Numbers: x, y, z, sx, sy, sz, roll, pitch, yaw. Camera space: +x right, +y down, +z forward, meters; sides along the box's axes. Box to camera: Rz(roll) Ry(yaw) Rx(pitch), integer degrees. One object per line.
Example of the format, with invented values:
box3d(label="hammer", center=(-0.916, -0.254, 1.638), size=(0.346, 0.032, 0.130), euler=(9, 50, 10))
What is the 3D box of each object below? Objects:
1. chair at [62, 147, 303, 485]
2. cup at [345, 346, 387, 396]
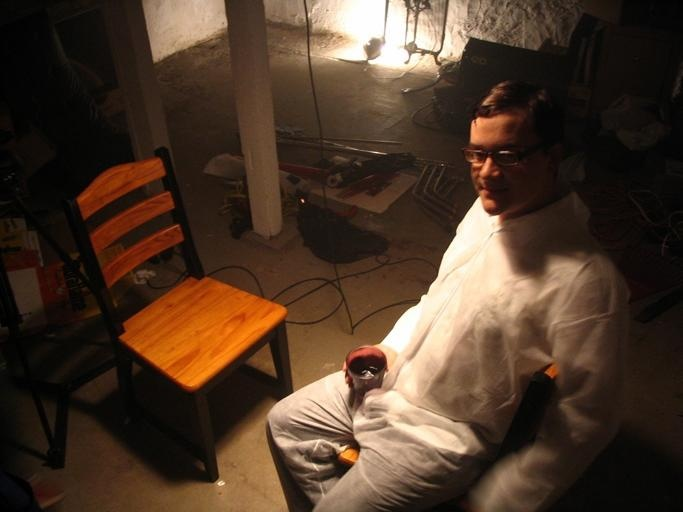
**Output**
box3d(label="chair", center=(-0.830, 0.314, 2.924), size=(0.920, 1.485, 0.857), euler=(30, 41, 33))
box3d(label="cup", center=(0.135, 0.545, 2.569), size=(0.197, 0.241, 0.224), euler=(-17, 51, -6))
